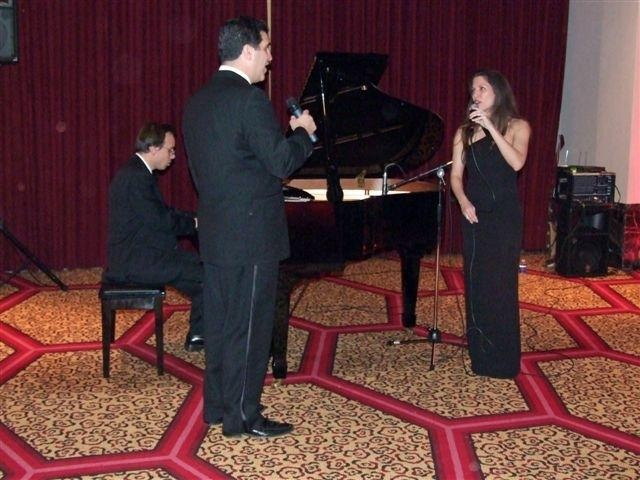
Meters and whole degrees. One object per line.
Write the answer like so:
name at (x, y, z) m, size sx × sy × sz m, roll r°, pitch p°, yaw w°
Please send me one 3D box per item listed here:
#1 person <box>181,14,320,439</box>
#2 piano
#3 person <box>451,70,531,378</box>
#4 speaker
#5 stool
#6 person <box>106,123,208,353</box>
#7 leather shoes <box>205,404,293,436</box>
person at (-0.373, 0.002, 2.835) m, size 0.651 × 2.209 × 0.353 m, roll -1°, pitch 11°, yaw -5°
piano at (0.197, -0.279, 4.170) m, size 1.470 × 2.083 × 1.612 m, roll -4°, pitch 3°, yaw 24°
person at (1.133, -0.089, 3.648) m, size 0.509 × 2.027 × 0.306 m, roll 2°, pitch 12°, yaw 10°
speaker at (3.085, -0.061, 6.243) m, size 0.735 × 0.848 × 0.730 m, roll -5°, pitch 11°, yaw -14°
stool at (-1.348, 0.600, 3.918) m, size 0.376 × 0.559 × 0.539 m, roll 0°, pitch 7°, yaw -19°
person at (-1.221, 0.006, 4.124) m, size 0.777 × 1.739 × 0.677 m, roll -3°, pitch 8°, yaw -25°
leather shoes at (-0.393, 0.984, 3.068) m, size 0.494 × 0.240 × 0.175 m, roll 0°, pitch 0°, yaw -19°
